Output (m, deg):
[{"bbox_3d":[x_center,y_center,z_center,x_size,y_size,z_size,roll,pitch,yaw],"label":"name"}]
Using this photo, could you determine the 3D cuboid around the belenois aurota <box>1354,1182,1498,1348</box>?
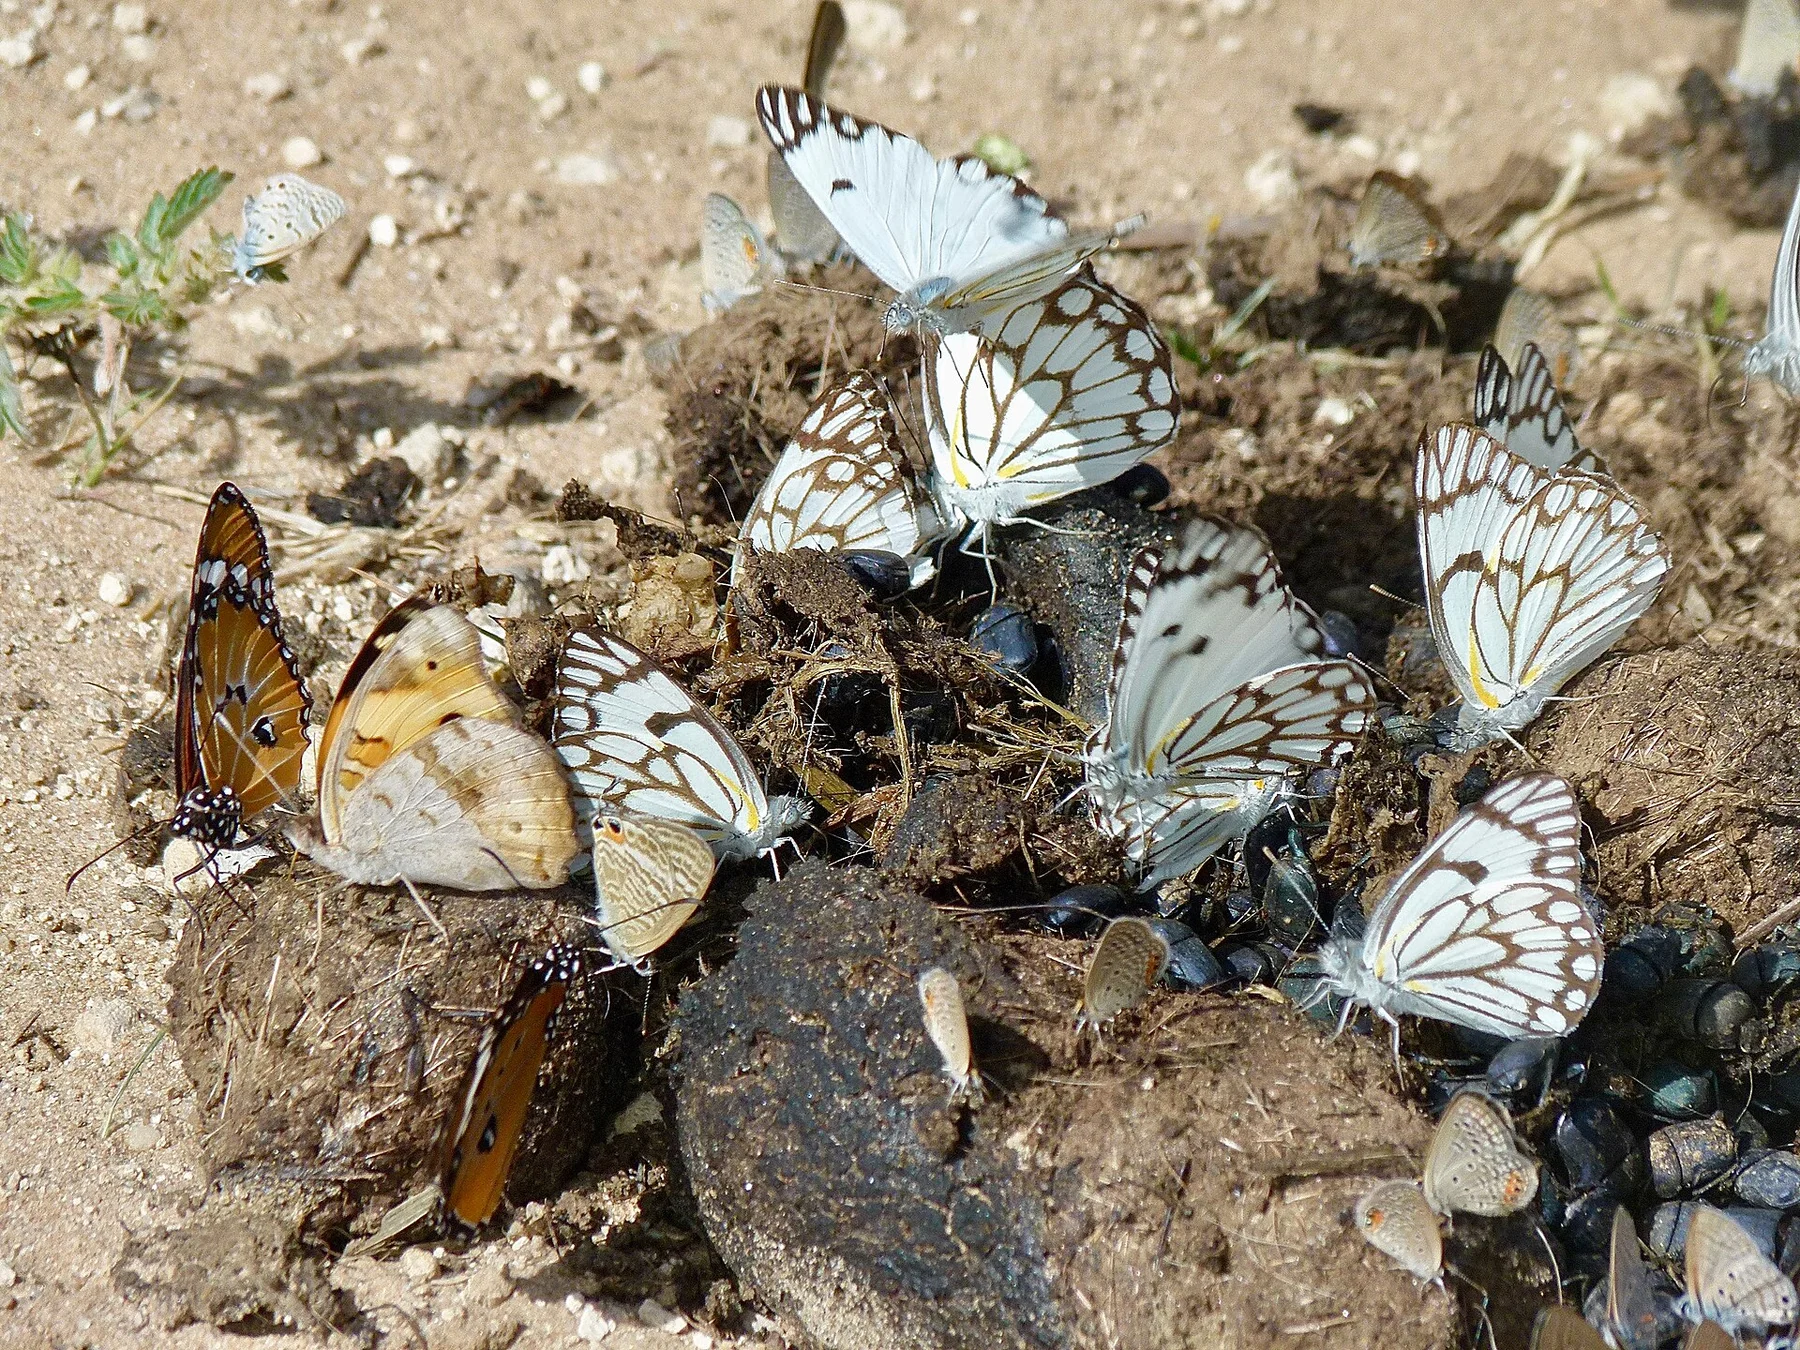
[{"bbox_3d":[1.597,1.738,7.290,0.370,0.234,0.253,32,82,7],"label":"belenois aurota"}]

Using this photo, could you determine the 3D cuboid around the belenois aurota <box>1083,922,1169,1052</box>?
[{"bbox_3d":[0.685,0.980,7.448,0.257,0.371,0.144,-6,48,-41],"label":"belenois aurota"}]

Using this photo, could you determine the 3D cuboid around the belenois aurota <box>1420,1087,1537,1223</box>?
[{"bbox_3d":[1.802,1.533,7.330,0.329,0.307,0.385,18,80,5],"label":"belenois aurota"}]
